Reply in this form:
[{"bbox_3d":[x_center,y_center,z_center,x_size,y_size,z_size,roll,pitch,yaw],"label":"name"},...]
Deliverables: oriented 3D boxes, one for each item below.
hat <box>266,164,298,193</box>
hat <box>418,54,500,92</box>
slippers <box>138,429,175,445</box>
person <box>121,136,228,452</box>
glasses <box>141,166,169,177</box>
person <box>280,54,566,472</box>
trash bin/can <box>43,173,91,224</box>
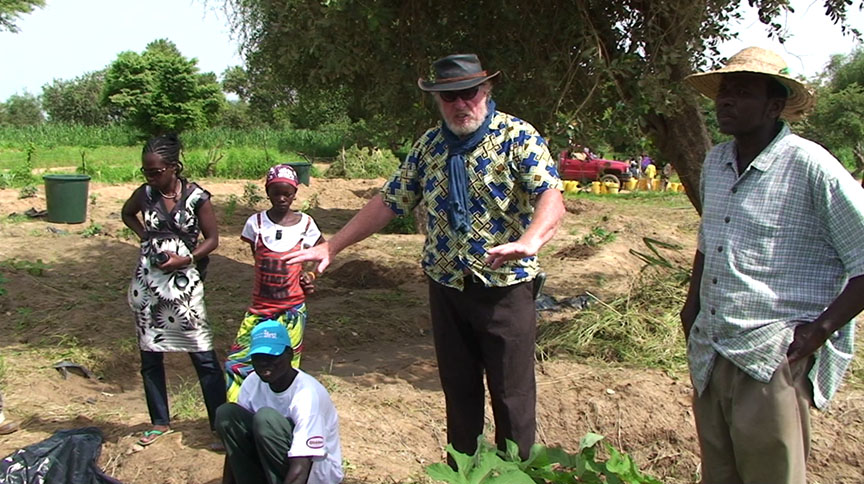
[{"bbox_3d":[-1.576,-0.665,7.457,0.299,0.170,0.277,-1,15,-23],"label":"hat"},{"bbox_3d":[0.224,-1.482,6.218,0.679,0.374,0.384,1,5,9],"label":"hat"},{"bbox_3d":[-2.855,2.008,7.380,0.108,0.067,0.270,13,9,37],"label":"slippers"},{"bbox_3d":[-2.669,0.471,7.408,1.063,3.146,0.754,0,5,-1],"label":"person"},{"bbox_3d":[-2.837,-0.710,7.262,0.263,0.103,0.112,2,5,19],"label":"glasses"},{"bbox_3d":[0.296,0.147,6.295,1.639,3.521,0.510,2,6,25],"label":"person"},{"bbox_3d":[-7.745,-0.931,15.286,1.142,1.021,1.069,1,1,10],"label":"trash bin/can"}]
